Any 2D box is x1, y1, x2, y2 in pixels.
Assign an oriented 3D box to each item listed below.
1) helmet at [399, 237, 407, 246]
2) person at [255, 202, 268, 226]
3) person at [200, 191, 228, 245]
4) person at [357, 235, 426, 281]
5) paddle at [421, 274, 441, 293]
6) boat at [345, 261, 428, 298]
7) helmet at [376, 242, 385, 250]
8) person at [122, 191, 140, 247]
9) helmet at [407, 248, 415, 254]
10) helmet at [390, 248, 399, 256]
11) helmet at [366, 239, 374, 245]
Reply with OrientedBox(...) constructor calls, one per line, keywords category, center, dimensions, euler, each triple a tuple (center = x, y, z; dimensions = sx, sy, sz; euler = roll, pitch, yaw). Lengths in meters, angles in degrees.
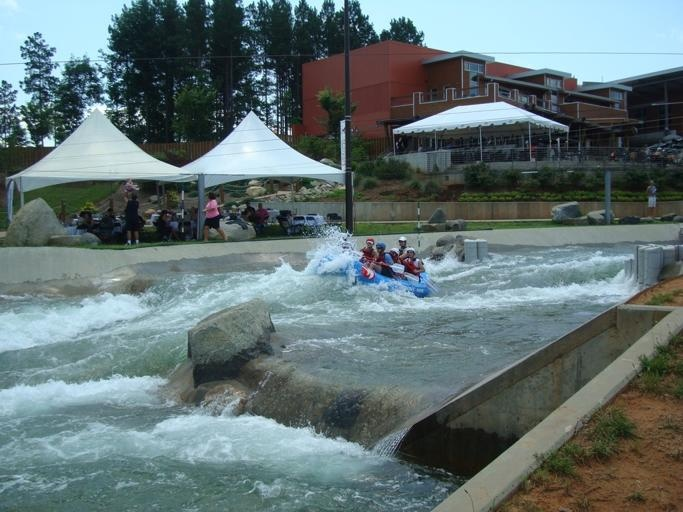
OrientedBox(category="helmet", center=(1.748, -0.433, 19.711), dimensions=(0.267, 0.218, 0.431), euler=(0, 6, 14))
OrientedBox(category="person", center=(-3.078, -1.555, 26.503), dimensions=(0.451, 0.771, 1.870), euler=(-2, 14, -7))
OrientedBox(category="person", center=(-4.519, -1.513, 24.352), dimensions=(0.749, 1.598, 2.609), euler=(-3, 15, -10))
OrientedBox(category="person", center=(1.289, 0.165, 18.868), dimensions=(1.073, 0.622, 1.523), euler=(3, -11, 39))
OrientedBox(category="paddle", center=(2.416, 0.801, 18.828), dimensions=(0.343, 0.166, 0.660), euler=(-5, 38, -35))
OrientedBox(category="boat", center=(1.300, 0.638, 18.426), dimensions=(1.490, 0.531, 1.013), euler=(13, 2, 27))
OrientedBox(category="helmet", center=(1.110, -0.287, 19.260), dimensions=(0.170, 0.207, 0.213), euler=(4, 16, 3))
OrientedBox(category="person", center=(-6.725, -1.159, 22.101), dimensions=(0.432, 1.738, 0.477), euler=(-2, 14, -26))
OrientedBox(category="helmet", center=(1.913, -0.145, 18.931), dimensions=(0.216, 0.184, 0.156), euler=(9, -12, -39))
OrientedBox(category="helmet", center=(1.525, -0.090, 19.652), dimensions=(0.182, 0.225, 0.241), euler=(11, 15, 20))
OrientedBox(category="helmet", center=(0.785, -0.379, 19.369), dimensions=(0.169, 0.193, 0.240), euler=(5, 18, 14))
